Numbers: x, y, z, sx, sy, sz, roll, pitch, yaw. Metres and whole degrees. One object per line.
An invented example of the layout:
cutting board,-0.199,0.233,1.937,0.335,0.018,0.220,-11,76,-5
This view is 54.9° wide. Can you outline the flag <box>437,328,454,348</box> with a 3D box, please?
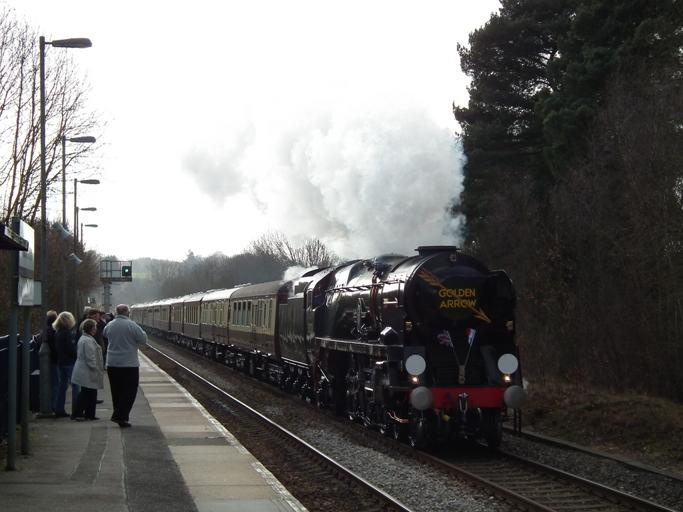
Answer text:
flag,1.974,1.559,12.421,0.292,0.308,0.101,40,25,14
